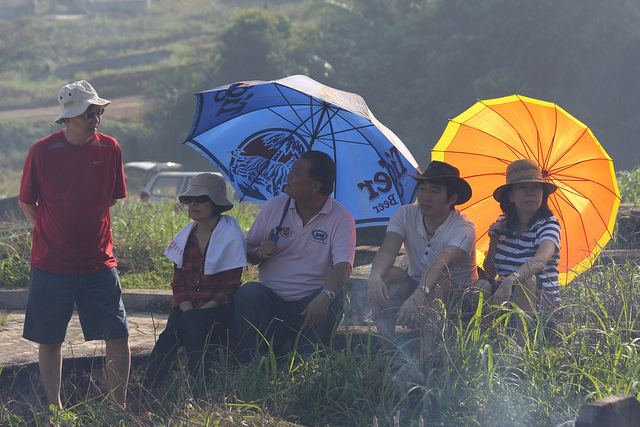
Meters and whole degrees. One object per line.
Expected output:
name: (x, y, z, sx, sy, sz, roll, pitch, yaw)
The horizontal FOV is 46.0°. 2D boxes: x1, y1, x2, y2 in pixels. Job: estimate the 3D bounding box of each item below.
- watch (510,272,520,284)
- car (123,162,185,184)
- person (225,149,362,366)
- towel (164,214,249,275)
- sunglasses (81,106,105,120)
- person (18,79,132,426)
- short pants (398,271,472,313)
watch: (2.059, 0.666, 7.818, 0.031, 0.128, 0.118, -7, 8, -22)
car: (-4.553, -1.066, 20.534, 1.459, 0.791, 0.955, 2, 3, -8)
person: (-0.253, 0.474, 8.148, 1.262, 1.776, 0.991, 5, 2, -6)
towel: (-1.196, 0.559, 8.174, 0.885, 0.709, 0.584, 8, -12, 17)
sunglasses: (-2.335, -1.030, 7.789, 0.241, 0.149, 0.058, 3, 3, -45)
person: (-2.521, 0.323, 7.765, 1.130, 3.329, 0.530, 4, 2, -23)
short pants: (1.093, 0.857, 8.084, 0.485, 0.566, 0.131, 3, 15, -2)
